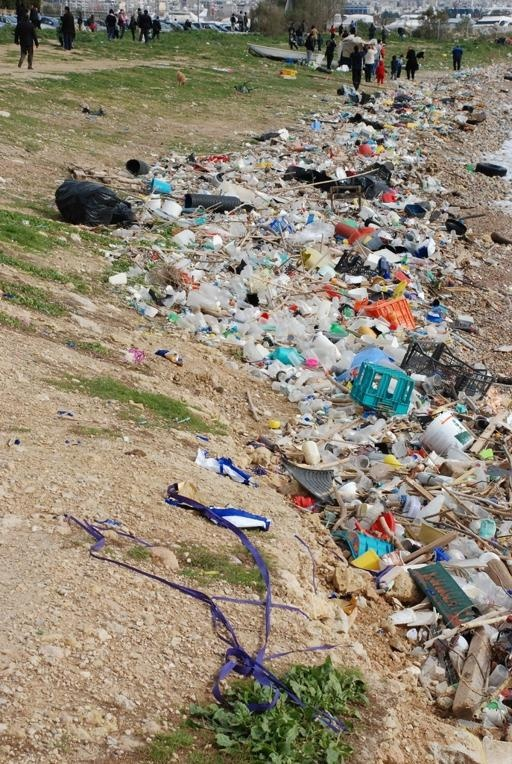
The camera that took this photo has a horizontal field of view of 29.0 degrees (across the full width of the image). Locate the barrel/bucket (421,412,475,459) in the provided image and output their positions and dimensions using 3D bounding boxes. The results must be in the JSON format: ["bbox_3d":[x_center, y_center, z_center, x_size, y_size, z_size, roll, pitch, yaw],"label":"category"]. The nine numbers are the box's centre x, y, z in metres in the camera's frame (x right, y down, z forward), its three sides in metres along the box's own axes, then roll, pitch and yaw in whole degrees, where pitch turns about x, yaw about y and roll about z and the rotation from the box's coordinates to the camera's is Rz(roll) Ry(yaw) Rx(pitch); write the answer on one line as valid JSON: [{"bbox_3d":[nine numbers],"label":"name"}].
[{"bbox_3d":[1.431,0.424,7.442,0.272,0.312,0.354,38,52,24],"label":"barrel/bucket"}]

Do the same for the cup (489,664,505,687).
[{"bbox_3d":[1.303,1.579,5.322,0.069,0.102,0.066,30,13,-8],"label":"cup"}]

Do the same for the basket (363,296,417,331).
[{"bbox_3d":[1.292,-0.648,9.438,0.540,0.283,0.590,6,12,4],"label":"basket"}]

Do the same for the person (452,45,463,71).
[{"bbox_3d":[6.824,-10.888,33.432,0.307,0.794,1.526,8,12,8],"label":"person"}]

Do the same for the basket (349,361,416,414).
[{"bbox_3d":[1.013,0.073,7.591,0.441,0.298,0.414,12,19,-23],"label":"basket"}]

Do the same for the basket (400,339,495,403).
[{"bbox_3d":[1.620,-0.110,8.414,0.801,0.318,0.440,27,12,-6],"label":"basket"}]
